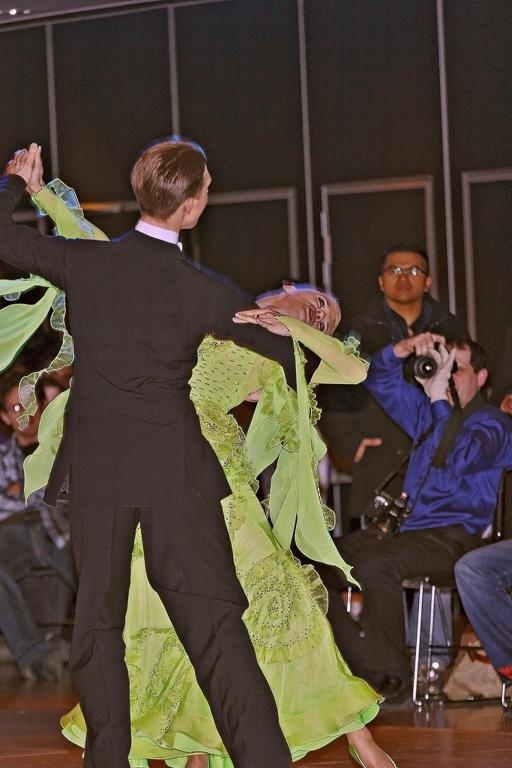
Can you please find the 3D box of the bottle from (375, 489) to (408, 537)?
[{"bbox_3d":[0.521,0.502,2.989,0.132,0.153,0.066,20,3,22],"label":"bottle"}]

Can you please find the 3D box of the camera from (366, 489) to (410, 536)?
[{"bbox_3d":[0.515,0.504,2.996,0.139,0.168,0.071,33,7,29],"label":"camera"}]

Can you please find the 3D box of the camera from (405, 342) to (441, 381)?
[{"bbox_3d":[0.685,-0.098,3.163,0.154,0.127,0.050,-7,-2,-5],"label":"camera"}]
